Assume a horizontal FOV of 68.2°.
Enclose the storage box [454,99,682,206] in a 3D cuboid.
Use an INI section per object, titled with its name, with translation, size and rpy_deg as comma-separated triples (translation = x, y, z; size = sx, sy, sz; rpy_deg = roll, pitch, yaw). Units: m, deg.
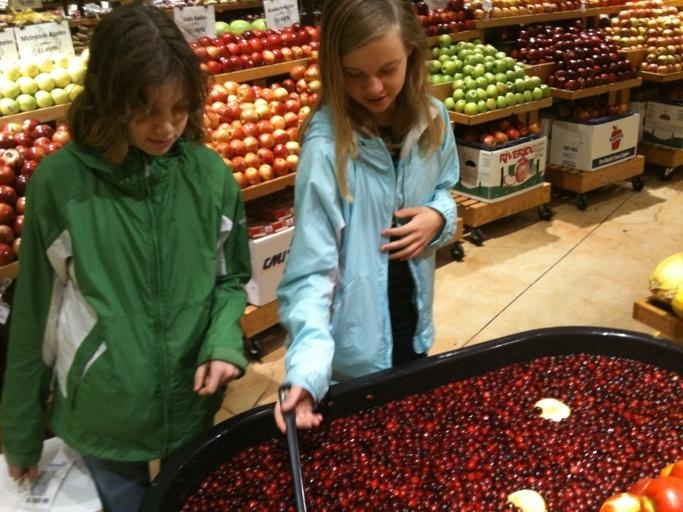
[storage box]
translation = 2.409, -1.105, 5.465
size = 1.525, 0.662, 0.815
rpy_deg = -24, 33, -29
